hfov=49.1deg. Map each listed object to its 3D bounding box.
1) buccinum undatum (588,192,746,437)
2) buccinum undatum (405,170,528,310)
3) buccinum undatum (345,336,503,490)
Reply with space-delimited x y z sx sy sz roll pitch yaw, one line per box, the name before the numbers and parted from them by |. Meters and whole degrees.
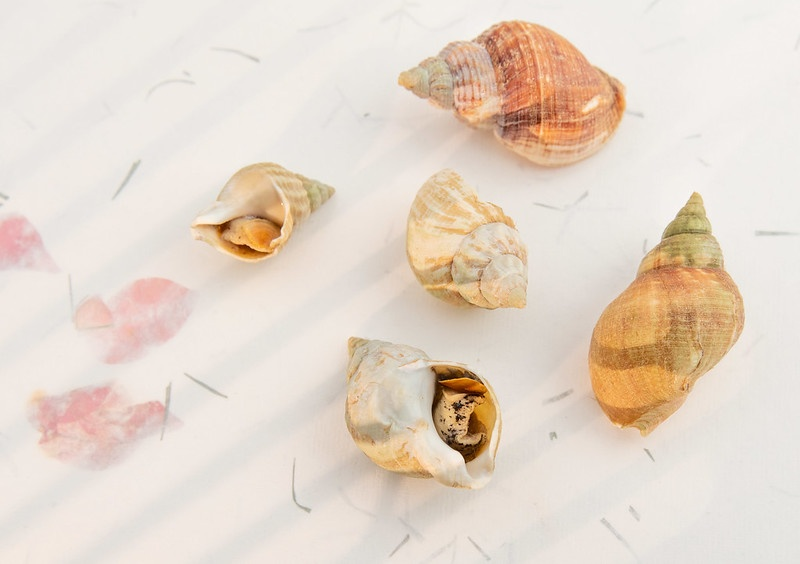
buccinum undatum | 0.535 0.086 1.773 0.263 0.164 0.518 3 84 42
buccinum undatum | 0.128 -0.077 1.776 0.199 0.129 0.303 -2 85 -6
buccinum undatum | 0.031 0.279 1.782 0.360 0.245 0.219 11 54 24
